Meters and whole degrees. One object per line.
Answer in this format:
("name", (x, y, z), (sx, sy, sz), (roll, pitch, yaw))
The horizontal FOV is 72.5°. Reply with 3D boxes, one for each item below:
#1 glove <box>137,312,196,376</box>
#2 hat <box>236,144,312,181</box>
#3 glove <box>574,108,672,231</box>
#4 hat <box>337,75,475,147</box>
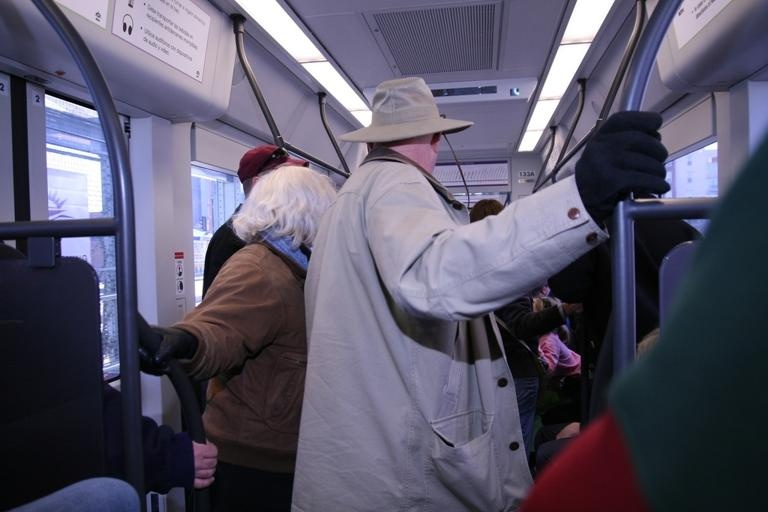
("glove", (-0.720, 0.292, 1.710), (0.185, 0.188, 0.068), (-6, -33, -42))
("hat", (-0.586, -0.502, 2.711), (0.369, 0.146, 0.259), (0, 14, 13))
("glove", (0.635, -0.239, 1.415), (0.233, 0.301, 0.087), (-2, -3, 19))
("hat", (0.073, -0.551, 1.995), (0.498, 0.244, 0.524), (-5, 9, 15))
